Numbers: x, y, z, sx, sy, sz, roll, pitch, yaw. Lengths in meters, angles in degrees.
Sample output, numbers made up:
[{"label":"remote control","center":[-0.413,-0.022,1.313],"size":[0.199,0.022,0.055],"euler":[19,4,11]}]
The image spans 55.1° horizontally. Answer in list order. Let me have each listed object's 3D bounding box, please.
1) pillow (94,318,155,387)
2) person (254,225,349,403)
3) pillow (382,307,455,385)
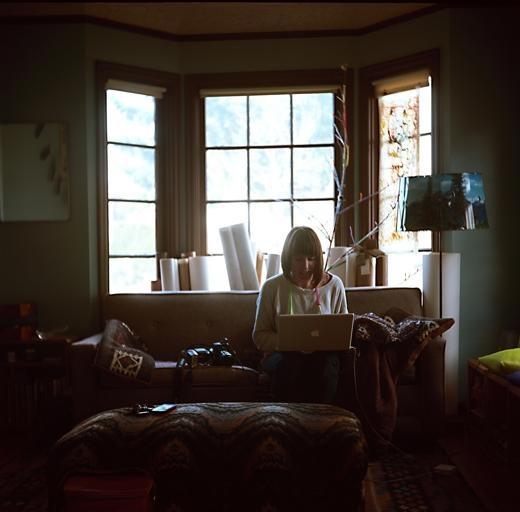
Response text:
[{"label":"pillow","center":[-0.722,0.500,2.691],"size":[0.287,0.298,0.405],"euler":[-4,1,-16]},{"label":"person","center":[0.226,0.297,2.532],"size":[0.451,0.970,0.493],"euler":[4,-10,-15]},{"label":"pillow","center":[0.833,0.465,2.609],"size":[0.334,0.296,0.443],"euler":[-3,1,14]}]
